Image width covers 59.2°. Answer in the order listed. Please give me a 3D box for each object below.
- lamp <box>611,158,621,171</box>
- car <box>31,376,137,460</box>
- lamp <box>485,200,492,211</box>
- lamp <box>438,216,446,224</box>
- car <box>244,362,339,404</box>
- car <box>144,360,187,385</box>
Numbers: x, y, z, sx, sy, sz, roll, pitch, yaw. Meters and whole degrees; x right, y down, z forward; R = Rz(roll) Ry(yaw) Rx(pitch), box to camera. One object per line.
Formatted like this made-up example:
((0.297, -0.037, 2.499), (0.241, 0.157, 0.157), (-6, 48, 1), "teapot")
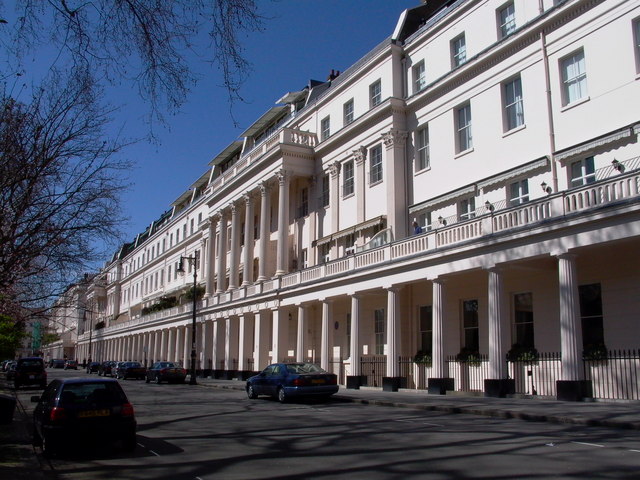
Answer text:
((11.093, -2.797, 21.116), (0.348, 0.451, 0.982), (-20, 3, 32), "lamp")
((-5.980, 4.277, 13.872), (2.756, 1.924, 1.565), (-10, -21, 24), "car")
((7.420, -1.488, 24.648), (0.339, 0.452, 1.072), (-2, 0, 10), "lamp")
((6.213, -1.006, 28.609), (0.605, 0.270, 0.428), (15, -7, -44), "lamp")
((-1.590, 6.694, 26.246), (2.161, 1.842, 5.315), (15, -26, -37), "car")
((-12.121, 10.273, 43.737), (1.564, 1.242, 3.523), (8, -14, -33), "car")
